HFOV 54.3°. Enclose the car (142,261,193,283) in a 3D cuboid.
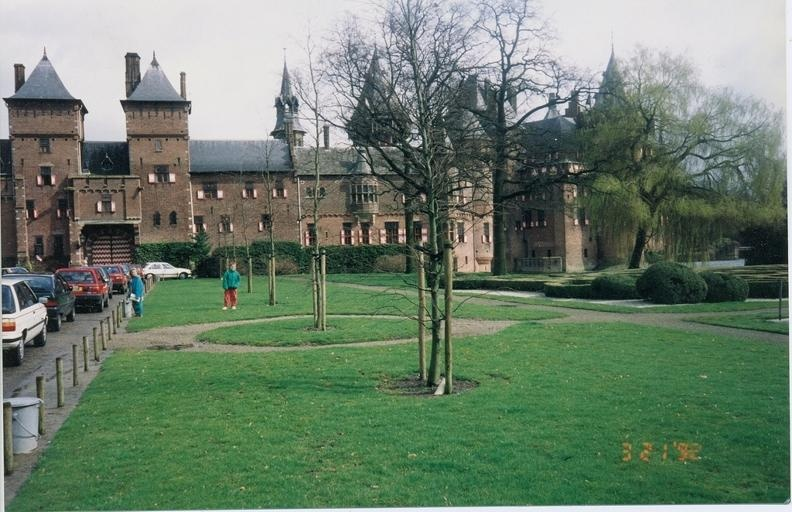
[{"bbox_3d":[-18.182,1.344,61.249,3.949,1.475,1.778,1,0,-30],"label":"car"}]
